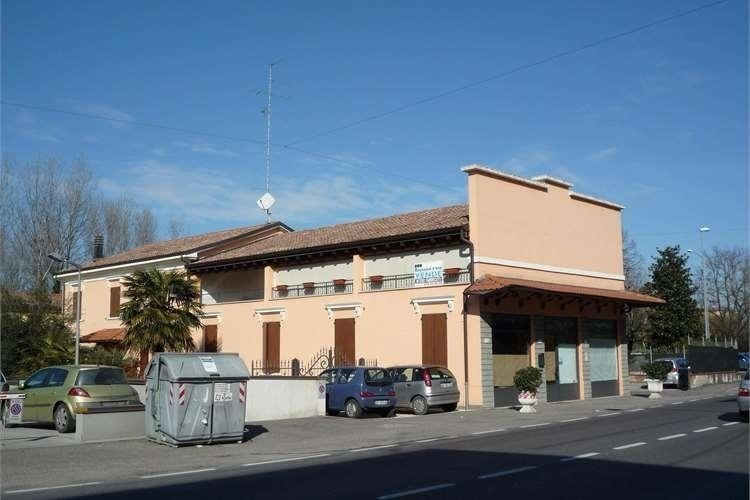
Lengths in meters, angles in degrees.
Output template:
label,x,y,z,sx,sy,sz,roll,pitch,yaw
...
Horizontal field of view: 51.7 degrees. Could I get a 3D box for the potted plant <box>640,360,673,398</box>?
label,x,y,z,sx,sy,sz,roll,pitch,yaw
potted plant,14.208,6.562,39.202,1.060,1.879,2.032,-5,-12,18

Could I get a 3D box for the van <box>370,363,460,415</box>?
label,x,y,z,sx,sy,sz,roll,pitch,yaw
van,1.981,5.804,32.180,2.823,1.340,1.764,-1,-4,44

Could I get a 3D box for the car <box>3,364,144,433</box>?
label,x,y,z,sx,sy,sz,roll,pitch,yaw
car,-9.970,4.994,26.617,3.952,1.843,2.519,-3,-8,36

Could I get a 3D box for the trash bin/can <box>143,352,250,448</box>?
label,x,y,z,sx,sy,sz,roll,pitch,yaw
trash bin/can,-5.770,4.776,25.085,3.176,2.939,2.031,8,-12,-43

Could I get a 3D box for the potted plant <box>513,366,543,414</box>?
label,x,y,z,sx,sy,sz,roll,pitch,yaw
potted plant,6.527,5.972,33.030,1.264,1.931,1.218,8,-11,-4

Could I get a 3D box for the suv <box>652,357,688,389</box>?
label,x,y,z,sx,sy,sz,roll,pitch,yaw
suv,16.698,7.174,44.712,2.042,1.879,3.660,-4,-4,35
